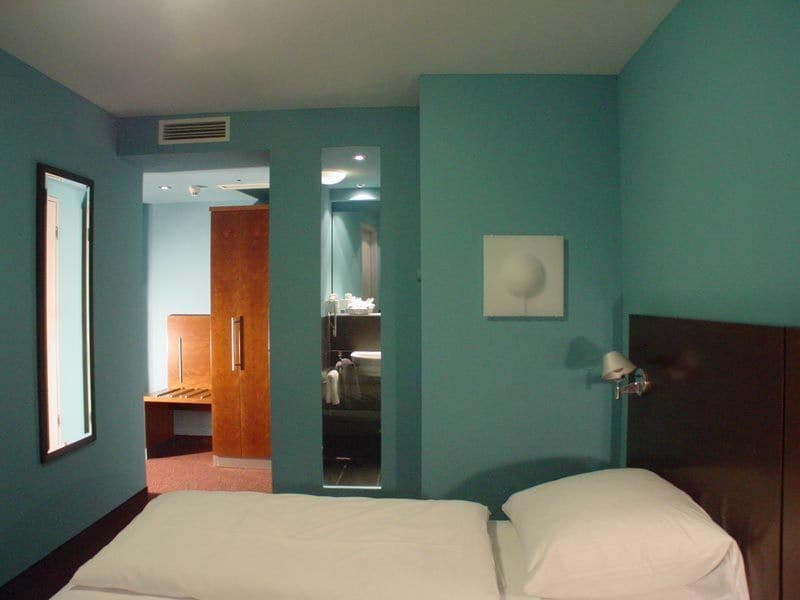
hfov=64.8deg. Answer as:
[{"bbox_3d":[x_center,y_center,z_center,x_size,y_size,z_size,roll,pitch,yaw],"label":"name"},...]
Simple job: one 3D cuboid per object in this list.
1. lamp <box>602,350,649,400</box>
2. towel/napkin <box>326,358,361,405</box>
[{"bbox_3d":[1.243,0.411,3.481,0.225,0.239,0.176,-8,-2,15],"label":"lamp"},{"bbox_3d":[-0.424,0.602,4.543,0.217,0.288,0.120,-4,-8,-12],"label":"towel/napkin"}]
